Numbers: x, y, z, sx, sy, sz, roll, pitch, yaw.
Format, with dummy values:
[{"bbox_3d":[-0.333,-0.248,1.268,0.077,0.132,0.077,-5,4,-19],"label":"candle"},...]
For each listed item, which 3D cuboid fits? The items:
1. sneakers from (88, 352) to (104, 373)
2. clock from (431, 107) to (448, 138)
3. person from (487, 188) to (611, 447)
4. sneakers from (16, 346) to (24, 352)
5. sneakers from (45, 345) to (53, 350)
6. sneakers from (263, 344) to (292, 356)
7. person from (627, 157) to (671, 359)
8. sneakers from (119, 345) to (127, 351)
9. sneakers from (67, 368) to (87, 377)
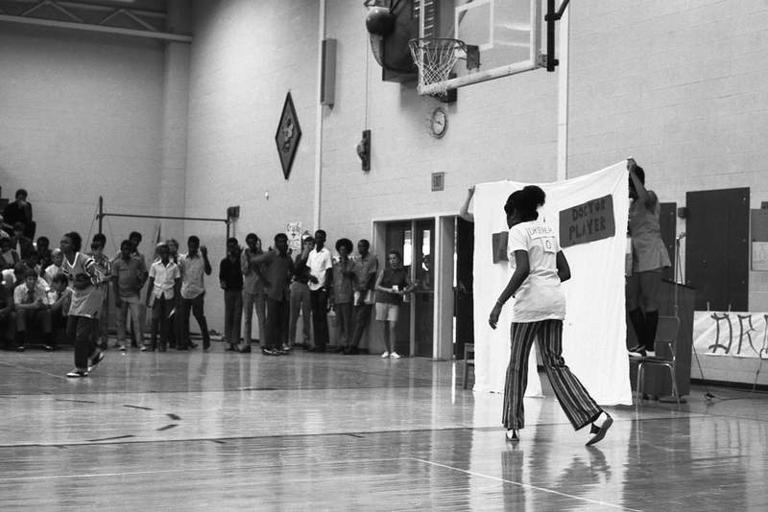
[{"bbox_3d":[-4.367,1.621,14.108,0.135,0.333,0.119,9,23,-45],"label":"sneakers"},{"bbox_3d":[1.090,-2.617,17.996,0.079,0.616,0.456,5,-6,-40],"label":"clock"},{"bbox_3d":[1.658,0.565,9.548,1.075,2.706,0.631,1,-4,9],"label":"person"},{"bbox_3d":[-7.133,1.818,18.233,0.072,0.088,0.195,1,-1,-14],"label":"sneakers"},{"bbox_3d":[-6.697,1.835,18.614,0.172,0.102,0.308,3,-5,-20],"label":"sneakers"},{"bbox_3d":[-2.035,1.851,18.104,0.566,0.231,0.193,0,-4,-4],"label":"sneakers"},{"bbox_3d":[3.420,0.050,12.027,0.491,2.447,0.551,1,-4,9],"label":"person"},{"bbox_3d":[-5.234,1.858,18.673,0.094,0.120,0.277,20,1,-10],"label":"sneakers"},{"bbox_3d":[-4.437,1.687,13.400,0.341,0.145,0.113,10,-10,-38],"label":"sneakers"}]
